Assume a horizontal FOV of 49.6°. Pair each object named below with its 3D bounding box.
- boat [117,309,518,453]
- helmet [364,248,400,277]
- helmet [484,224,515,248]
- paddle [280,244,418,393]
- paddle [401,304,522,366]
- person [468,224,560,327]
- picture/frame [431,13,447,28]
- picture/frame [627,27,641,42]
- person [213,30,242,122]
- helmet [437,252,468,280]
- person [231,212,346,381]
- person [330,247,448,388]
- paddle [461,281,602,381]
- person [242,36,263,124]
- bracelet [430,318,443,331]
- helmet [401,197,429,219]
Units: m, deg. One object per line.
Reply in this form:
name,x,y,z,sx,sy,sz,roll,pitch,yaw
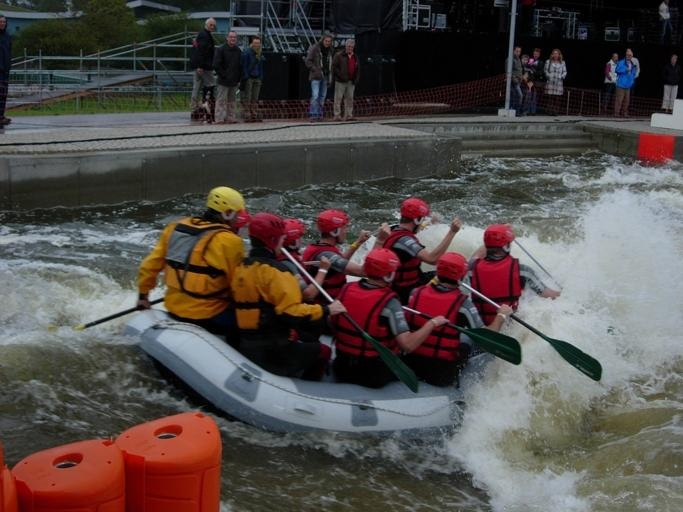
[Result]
boat,-0.326,1.172,6.522,2.274,0.404,1.252,8,2,-15
helmet,0.318,0.052,6.419,0.227,0.204,0.281,-1,-29,42
helmet,1.598,-0.198,7.444,0.215,0.200,0.281,16,16,38
paddle,0.028,0.601,6.607,0.078,0.215,1.880,-26,62,-41
paddle,1.073,0.737,6.835,1.452,0.190,0.057,22,24,9
person,1.860,0.240,8.009,0.739,1.211,0.622,24,63,29
picture/frame,2.721,-6.507,20.724,0.528,0.419,0.108,-4,12,-20
picture/frame,8.983,-6.703,22.629,0.464,0.370,0.200,-1,11,-3
person,-2.278,-3.539,14.775,0.561,1.808,0.838,-2,11,-8
helmet,1.016,0.084,6.827,0.232,0.229,0.278,18,17,4
person,-0.480,0.398,6.515,0.925,1.484,0.856,-24,42,-35
person,0.422,0.591,6.700,0.740,1.152,0.775,28,48,31
paddle,1.875,0.780,7.450,1.780,0.184,0.078,34,32,19
person,-1.930,-3.708,15.714,0.433,1.698,1.001,-2,11,-8
bracelet,0.849,0.603,6.589,0.116,0.036,0.088,-30,-26,24
helmet,0.776,-0.480,7.887,0.298,0.252,0.227,-10,24,-27
